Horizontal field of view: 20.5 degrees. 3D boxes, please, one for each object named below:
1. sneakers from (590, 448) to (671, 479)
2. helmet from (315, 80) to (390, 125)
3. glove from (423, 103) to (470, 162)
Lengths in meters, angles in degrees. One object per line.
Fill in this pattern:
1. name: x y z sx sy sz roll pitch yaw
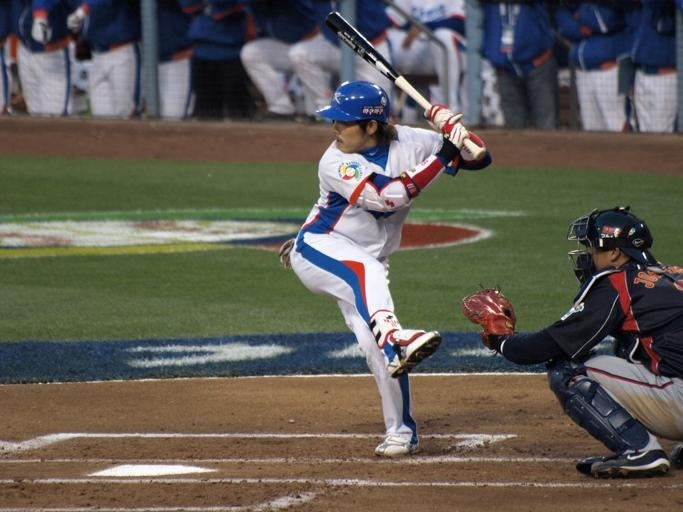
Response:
1. sneakers: 1.995 1.405 13.061 0.634 0.182 0.237 0 40 2
2. helmet: 0.093 -1.095 13.493 0.513 0.301 0.217 -2 4 -1
3. glove: 0.770 -0.888 13.489 0.275 0.386 0.273 6 24 6
